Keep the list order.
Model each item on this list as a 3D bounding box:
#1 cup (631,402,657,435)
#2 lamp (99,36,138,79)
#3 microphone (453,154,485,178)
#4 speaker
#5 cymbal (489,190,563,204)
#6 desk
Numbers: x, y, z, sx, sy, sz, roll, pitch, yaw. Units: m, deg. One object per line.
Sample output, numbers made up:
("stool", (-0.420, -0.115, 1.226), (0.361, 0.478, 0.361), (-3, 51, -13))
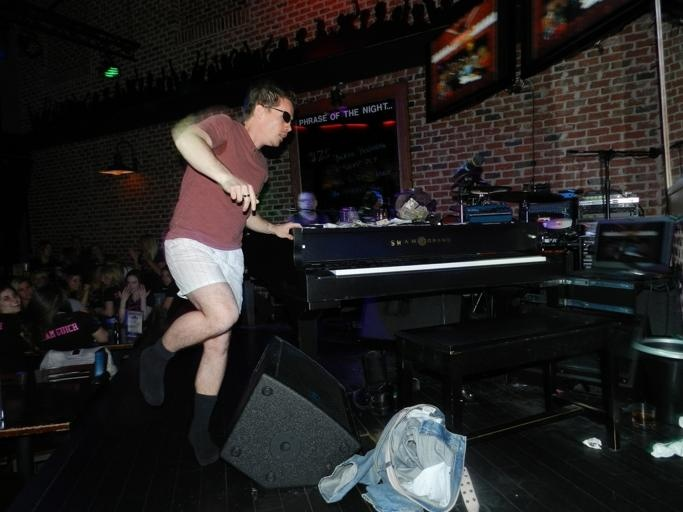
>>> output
("cup", (1.952, 1.025, 3.278), (0.160, 0.143, 0.150), (-3, 5, 0))
("lamp", (-3.452, -3.116, 7.941), (0.560, 0.631, 0.873), (-5, 6, -23))
("microphone", (0.999, -0.713, 3.984), (0.235, 0.184, 0.215), (0, 6, 31))
("speaker", (-0.290, 0.819, 3.020), (0.684, 0.732, 0.815), (4, -4, -7))
("cymbal", (1.480, -0.481, 4.133), (0.358, 0.098, 1.052), (1, 6, 36))
("desk", (0.978, 0.775, 3.019), (1.293, 0.788, 0.459), (-4, 6, -17))
